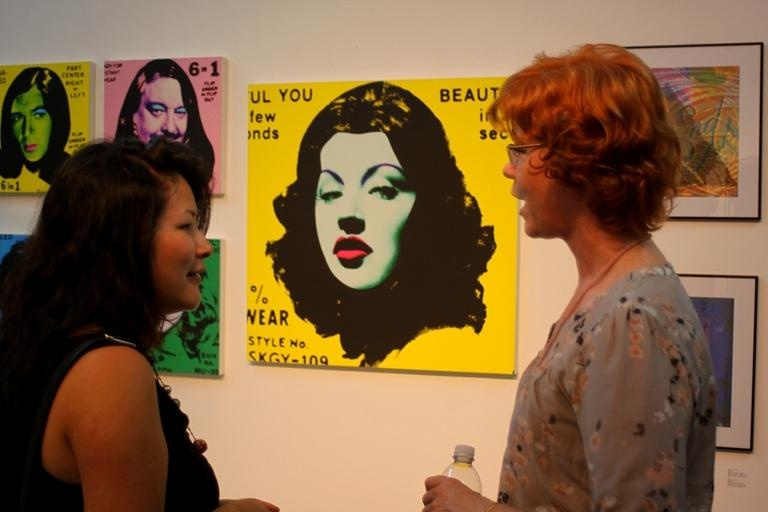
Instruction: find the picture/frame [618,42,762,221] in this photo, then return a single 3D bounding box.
[{"bbox_3d":[1.143,-0.466,2.935,0.663,0.840,0.038,0,-1,10],"label":"picture/frame"}]
